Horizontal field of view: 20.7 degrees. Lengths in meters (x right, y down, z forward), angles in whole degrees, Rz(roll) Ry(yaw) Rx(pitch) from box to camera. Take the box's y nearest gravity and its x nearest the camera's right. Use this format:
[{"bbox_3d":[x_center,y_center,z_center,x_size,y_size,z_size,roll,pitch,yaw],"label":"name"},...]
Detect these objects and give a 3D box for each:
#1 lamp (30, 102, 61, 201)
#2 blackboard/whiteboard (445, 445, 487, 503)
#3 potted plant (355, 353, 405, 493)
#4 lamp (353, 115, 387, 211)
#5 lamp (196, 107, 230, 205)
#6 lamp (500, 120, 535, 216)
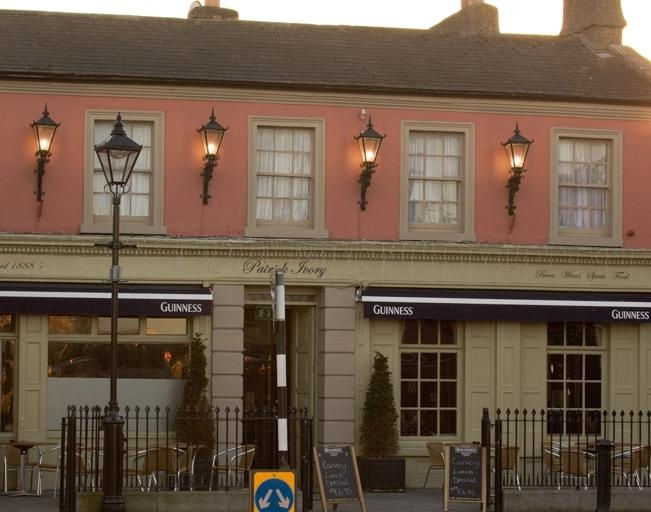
[{"bbox_3d":[-5.493,-1.997,34.748,0.541,1.869,0.566,1,-11,-10],"label":"lamp"},{"bbox_3d":[2.469,3.847,31.843,0.733,1.050,0.185,-2,-11,5],"label":"blackboard/whiteboard"},{"bbox_3d":[1.043,3.194,34.788,0.916,2.634,0.515,-1,-11,0],"label":"potted plant"},{"bbox_3d":[0.920,-1.814,35.502,0.536,1.768,0.567,2,-1,-30],"label":"lamp"},{"bbox_3d":[-2.270,-1.898,35.089,0.436,1.851,0.528,4,-5,-16],"label":"lamp"},{"bbox_3d":[3.881,-1.711,35.815,0.504,1.865,0.561,-1,-1,-28],"label":"lamp"}]
